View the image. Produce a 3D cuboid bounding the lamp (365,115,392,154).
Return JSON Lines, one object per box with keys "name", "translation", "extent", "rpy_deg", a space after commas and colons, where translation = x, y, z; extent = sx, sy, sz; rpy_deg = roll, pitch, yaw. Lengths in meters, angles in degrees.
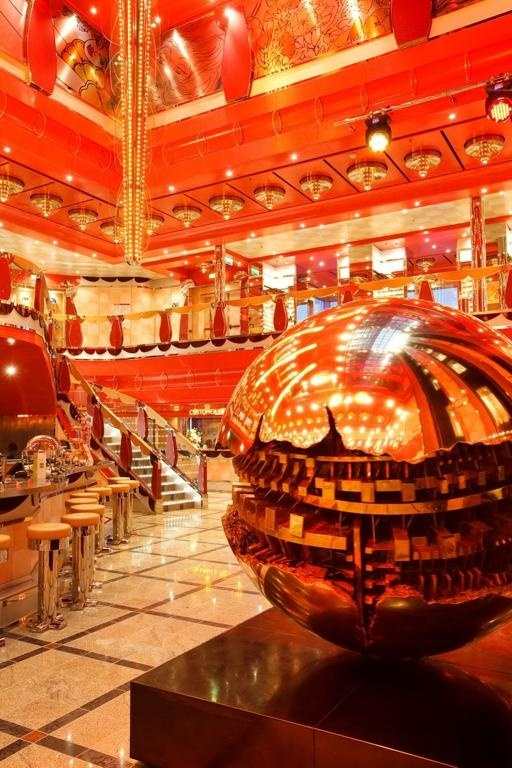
{"name": "lamp", "translation": [1.806, -3.694, 7.443], "extent": [0.342, 0.394, 0.287], "rpy_deg": [-6, -8, 31]}
